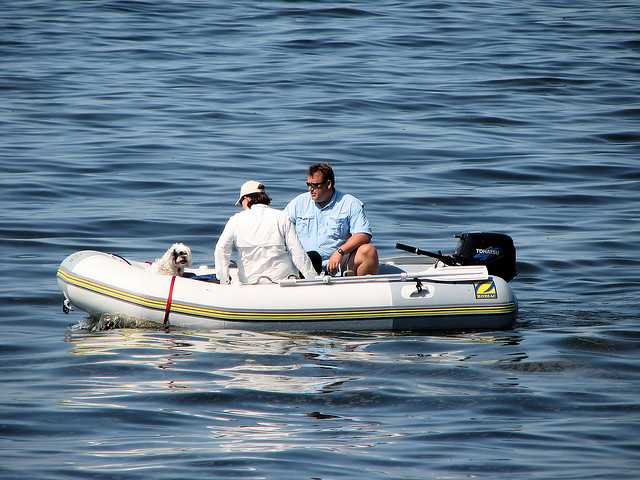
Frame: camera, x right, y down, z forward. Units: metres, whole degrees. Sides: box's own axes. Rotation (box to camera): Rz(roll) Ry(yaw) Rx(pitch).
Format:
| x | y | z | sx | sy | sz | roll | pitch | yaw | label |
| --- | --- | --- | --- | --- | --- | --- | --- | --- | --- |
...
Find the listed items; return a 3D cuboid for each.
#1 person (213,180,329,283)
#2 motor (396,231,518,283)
| x | y | z | sx | sy | sz | roll | pitch | yaw | label |
| --- | --- | --- | --- | --- | --- | --- | --- | --- | --- |
| -0.910 | 0.029 | 18.407 | 1.027 | 1.408 | 1.358 | -30 | 54 | -31 | person |
| 2.059 | 0.319 | 19.390 | 1.777 | 0.761 | 1.279 | -7 | 14 | -30 | motor |
